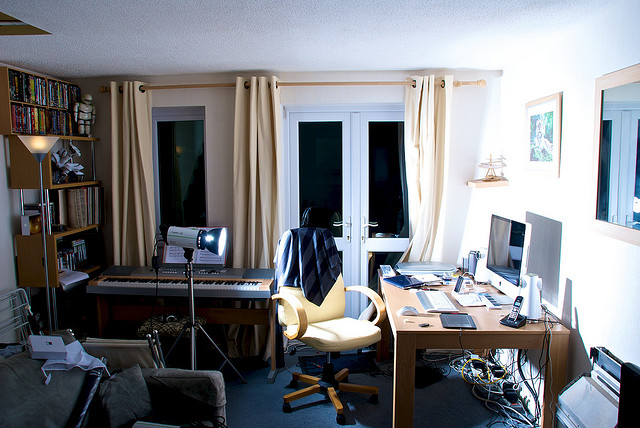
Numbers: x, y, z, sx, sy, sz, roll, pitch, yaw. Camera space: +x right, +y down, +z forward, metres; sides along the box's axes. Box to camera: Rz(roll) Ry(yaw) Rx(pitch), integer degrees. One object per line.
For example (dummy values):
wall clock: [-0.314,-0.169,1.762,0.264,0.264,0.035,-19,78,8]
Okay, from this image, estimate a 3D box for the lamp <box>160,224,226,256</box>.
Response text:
lamp: [-1.030,0.209,3.928,0.596,0.241,0.229,7,-12,6]

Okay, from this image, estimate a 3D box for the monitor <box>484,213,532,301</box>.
monitor: [1.536,0.363,3.709,0.236,0.682,0.694,4,2,-1]

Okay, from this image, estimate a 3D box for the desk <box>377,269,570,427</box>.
desk: [1.135,1.341,3.751,0.963,0.825,1.764,1,5,4]

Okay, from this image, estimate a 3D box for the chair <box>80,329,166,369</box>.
chair: [-1.556,1.088,3.615,0.602,0.196,0.433,4,-6,-3]

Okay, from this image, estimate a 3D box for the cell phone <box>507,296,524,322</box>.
cell phone: [1.475,0.714,3.436,0.062,0.162,0.161,7,11,41]

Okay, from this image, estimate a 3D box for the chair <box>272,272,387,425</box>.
chair: [-0.007,1.143,4.300,1.042,1.423,1.168,3,-5,-28]

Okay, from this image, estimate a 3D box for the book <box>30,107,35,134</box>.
book: [-2.699,-0.877,4.282,0.024,0.250,0.042,-4,9,-20]

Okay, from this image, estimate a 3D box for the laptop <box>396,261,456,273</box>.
laptop: [1.042,0.528,4.556,0.570,0.070,0.271,-2,8,-8]

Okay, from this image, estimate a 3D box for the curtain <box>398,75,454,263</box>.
curtain: [1.079,-0.448,4.665,0.499,1.853,0.208,-4,-4,22]

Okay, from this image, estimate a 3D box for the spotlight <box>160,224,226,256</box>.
spotlight: [-1.039,0.220,3.932,0.604,0.252,0.228,7,-4,5]

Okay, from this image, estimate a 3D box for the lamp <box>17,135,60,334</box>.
lamp: [-2.523,0.200,4.227,0.285,1.839,0.295,4,10,28]

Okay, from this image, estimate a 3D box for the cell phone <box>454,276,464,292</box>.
cell phone: [1.243,0.617,4.091,0.047,0.095,0.242,4,9,27]

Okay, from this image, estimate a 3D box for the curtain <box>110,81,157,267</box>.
curtain: [-1.948,-0.403,4.740,0.435,1.902,0.289,0,9,3]

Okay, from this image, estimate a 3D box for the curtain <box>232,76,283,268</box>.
curtain: [-0.648,-0.410,4.677,0.522,1.931,0.315,-1,9,-4]
